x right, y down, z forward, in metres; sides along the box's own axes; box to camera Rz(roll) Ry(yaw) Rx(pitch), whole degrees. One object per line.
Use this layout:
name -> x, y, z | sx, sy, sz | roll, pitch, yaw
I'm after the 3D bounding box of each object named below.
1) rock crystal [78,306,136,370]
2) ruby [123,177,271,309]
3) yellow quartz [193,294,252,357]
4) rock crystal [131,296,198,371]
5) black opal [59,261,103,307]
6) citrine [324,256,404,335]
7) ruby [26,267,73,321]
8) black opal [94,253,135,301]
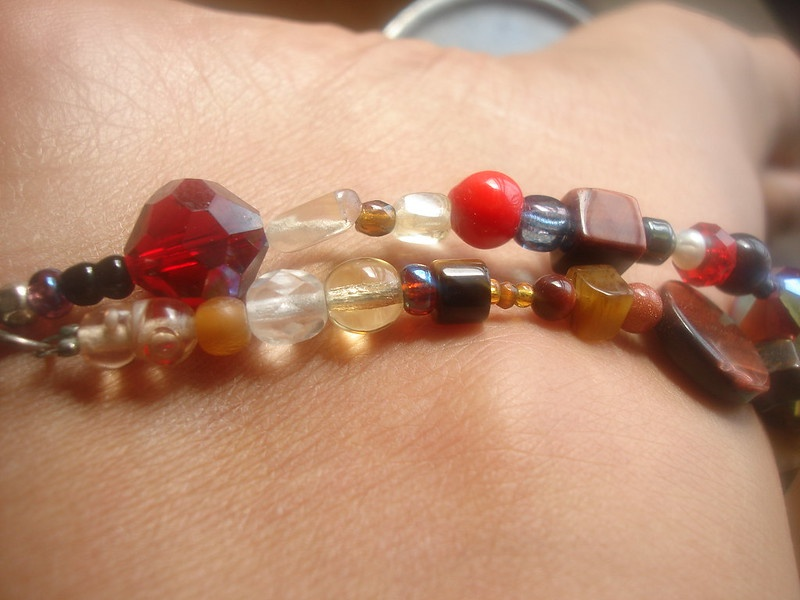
rock crystal -> -0.459, 0.060, 1.227 | 0.085, 0.054, 0.088 | 5, 77, -6
ruby -> -0.325, -0.085, 1.307 | 0.215, 0.118, 0.190 | 29, 79, -11
yellow quartz -> -0.291, 0.043, 1.272 | 0.085, 0.058, 0.072 | -11, 41, -13
rock crystal -> -0.376, 0.055, 1.262 | 0.090, 0.082, 0.092 | -6, 40, -7
black opal -> -0.516, -0.023, 1.262 | 0.066, 0.065, 0.038 | -10, 16, -18
citrine -> -0.061, -0.004, 1.324 | 0.129, 0.093, 0.094 | -4, 40, -4
ruby -> -0.569, -0.007, 1.256 | 0.047, 0.073, 0.073 | -15, 46, 37
black opal -> -0.466, -0.034, 1.275 | 0.061, 0.046, 0.068 | 10, 61, -31
